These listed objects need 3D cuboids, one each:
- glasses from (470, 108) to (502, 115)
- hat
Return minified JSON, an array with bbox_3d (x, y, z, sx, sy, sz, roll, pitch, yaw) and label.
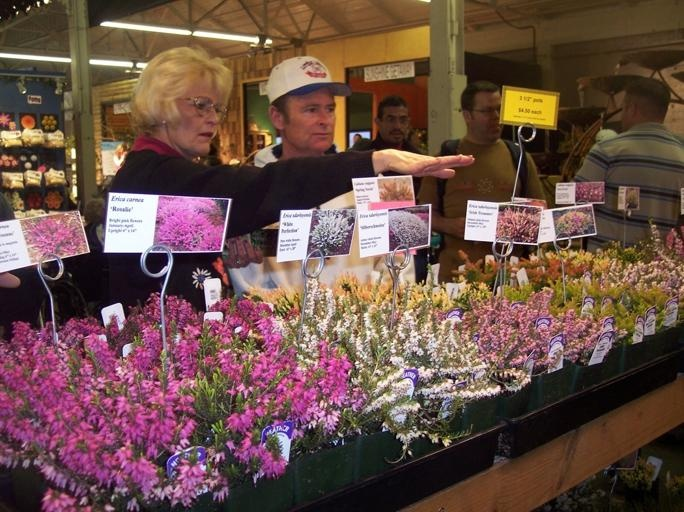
[{"bbox_3d":[0.770,-0.776,2.992,0.120,0.041,0.131,-1,11,-8],"label":"glasses"},{"bbox_3d":[-0.154,-0.689,2.332,0.268,0.154,0.206,-7,14,30],"label":"hat"}]
